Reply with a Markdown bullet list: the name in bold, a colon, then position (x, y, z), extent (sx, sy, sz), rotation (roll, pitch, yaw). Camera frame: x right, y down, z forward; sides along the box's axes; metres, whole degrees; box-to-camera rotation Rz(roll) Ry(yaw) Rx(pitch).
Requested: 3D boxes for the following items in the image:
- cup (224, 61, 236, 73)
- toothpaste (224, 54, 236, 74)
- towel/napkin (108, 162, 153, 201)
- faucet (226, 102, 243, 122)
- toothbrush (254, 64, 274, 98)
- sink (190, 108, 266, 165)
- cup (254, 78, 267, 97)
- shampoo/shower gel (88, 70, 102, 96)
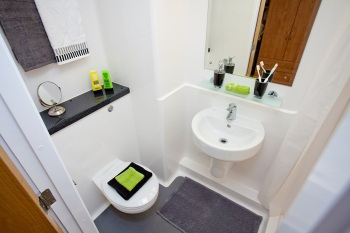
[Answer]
- **cup**: position (0.484, -0.438, 2.026), extent (0.083, 0.103, 0.085), rotation (-6, 52, 8)
- **toothpaste**: position (0.485, -0.475, 1.991), extent (0.078, 0.140, 0.077), rotation (-23, 44, -23)
- **towel/napkin**: position (-0.447, 0.578, 2.152), extent (0.273, 0.328, 0.074), rotation (-43, 29, -19)
- **faucet**: position (0.556, -0.048, 2.037), extent (0.078, 0.155, 0.156), rotation (17, 42, 31)
- **toothbrush**: position (0.739, -0.301, 1.865), extent (0.137, 0.256, 0.129), rotation (20, 44, 28)
- **sink**: position (0.444, 0.204, 2.078), extent (0.646, 0.323, 0.507), rotation (21, 44, 32)
- **cup**: position (0.706, -0.244, 1.864), extent (0.085, 0.122, 0.076), rotation (-27, 51, -14)
- **shampoo/shower gel**: position (-0.747, -0.317, 2.090), extent (0.124, 0.236, 0.055), rotation (-12, 17, -17)
